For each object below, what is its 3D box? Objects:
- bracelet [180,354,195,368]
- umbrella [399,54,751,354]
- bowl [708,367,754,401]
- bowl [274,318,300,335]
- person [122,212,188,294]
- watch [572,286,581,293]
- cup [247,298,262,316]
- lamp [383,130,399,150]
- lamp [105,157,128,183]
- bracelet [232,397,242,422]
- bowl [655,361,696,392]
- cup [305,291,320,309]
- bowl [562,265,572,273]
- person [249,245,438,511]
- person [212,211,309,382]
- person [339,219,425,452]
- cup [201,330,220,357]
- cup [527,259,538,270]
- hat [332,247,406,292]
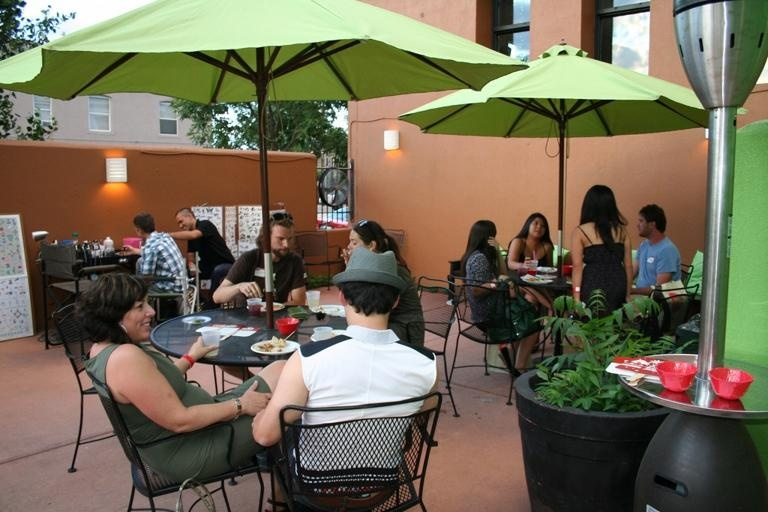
[{"bbox_3d":[-1.301,0.694,4.106,0.079,0.077,0.078,40,-5,16],"label":"bracelet"},{"bbox_3d":[1.740,-0.558,6.023,2.400,1.812,2.512,1,4,-2],"label":"umbrella"},{"bbox_3d":[1.747,0.647,3.090,0.197,0.120,0.220,-7,3,-21],"label":"bowl"},{"bbox_3d":[-0.716,0.503,4.467,0.123,0.077,0.123,-1,1,0],"label":"bowl"},{"bbox_3d":[-2.838,0.163,7.641,0.731,1.362,0.529,8,16,22],"label":"person"},{"bbox_3d":[1.806,0.312,5.762,0.047,0.052,0.073,2,-4,0],"label":"watch"},{"bbox_3d":[-1.033,0.397,4.903,0.108,0.099,0.117,0,-6,0],"label":"cup"},{"bbox_3d":[0.132,-2.010,10.864,0.296,0.330,0.299,-7,3,30],"label":"lamp"},{"bbox_3d":[-3.826,-1.209,8.873,0.335,0.341,0.315,-7,6,-23],"label":"lamp"},{"bbox_3d":[-0.887,0.920,3.748,0.059,0.101,0.098,1,-3,-25],"label":"bracelet"},{"bbox_3d":[1.507,0.603,3.167,0.149,0.094,0.147,-1,9,0],"label":"bowl"},{"bbox_3d":[-0.568,0.355,4.990,0.127,0.142,0.125,0,2,0],"label":"cup"},{"bbox_3d":[2.023,0.145,6.787,0.100,0.066,0.099,0,9,0],"label":"bowl"},{"bbox_3d":[-0.188,0.684,3.358,0.975,1.419,0.339,-5,8,-12],"label":"person"},{"bbox_3d":[-1.088,0.462,5.508,0.675,1.660,0.759,4,3,30],"label":"person"},{"bbox_3d":[-0.001,0.517,4.938,0.744,1.505,0.531,-7,14,5],"label":"person"},{"bbox_3d":[-1.169,0.590,4.166,0.139,0.163,0.144,0,-1,0],"label":"cup"},{"bbox_3d":[1.677,0.098,6.950,0.157,0.146,0.136,-1,3,17],"label":"cup"},{"bbox_3d":[-0.076,0.077,3.409,0.296,0.135,0.258,12,-9,-26],"label":"hat"}]
